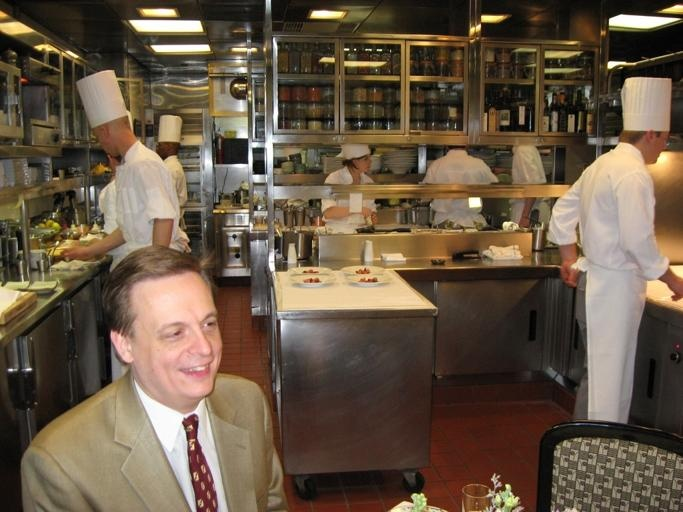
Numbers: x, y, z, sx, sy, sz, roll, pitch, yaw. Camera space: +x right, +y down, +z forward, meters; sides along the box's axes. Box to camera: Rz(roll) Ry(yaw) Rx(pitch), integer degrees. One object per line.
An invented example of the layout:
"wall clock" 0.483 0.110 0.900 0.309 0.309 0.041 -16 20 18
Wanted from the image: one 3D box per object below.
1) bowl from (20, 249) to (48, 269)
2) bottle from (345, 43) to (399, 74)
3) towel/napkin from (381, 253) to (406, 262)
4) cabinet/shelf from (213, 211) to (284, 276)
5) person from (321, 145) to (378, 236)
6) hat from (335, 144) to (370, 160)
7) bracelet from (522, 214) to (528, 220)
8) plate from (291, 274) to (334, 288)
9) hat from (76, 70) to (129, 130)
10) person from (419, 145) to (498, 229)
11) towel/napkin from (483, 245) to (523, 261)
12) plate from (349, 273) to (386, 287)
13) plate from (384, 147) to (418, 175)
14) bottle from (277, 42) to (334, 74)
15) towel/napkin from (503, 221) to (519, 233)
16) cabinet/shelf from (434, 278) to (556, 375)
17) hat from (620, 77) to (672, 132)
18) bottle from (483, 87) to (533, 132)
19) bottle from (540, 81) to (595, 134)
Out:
"bowl" -2.104 0.017 3.965 0.135 0.106 0.147 0 -2 0
"bottle" 0.244 -1.534 4.469 0.437 0.229 0.034 -3 13 -9
"towel/napkin" 0.408 0.009 4.529 0.177 0.060 0.165 0 12 4
"cabinet/shelf" -1.599 -0.184 8.376 0.817 0.877 0.753 -3 2 -44
"person" 0.059 -0.590 4.933 0.454 0.736 0.996 -1 12 2
"hat" 0.119 -0.905 4.924 0.216 0.111 0.151 0 14 -8
"bracelet" 1.704 -0.360 5.348 0.058 0.015 0.061 1 17 11
"plate" -0.188 0.164 3.725 0.271 0.047 0.176 -1 12 1
"hat" -1.580 -1.039 3.824 0.272 0.295 0.287 -24 18 -30
"person" 1.077 -0.632 5.341 0.656 0.729 0.728 1 13 12
"towel/napkin" 1.286 -0.033 4.606 0.307 0.085 0.291 0 12 6
"plate" 0.173 0.156 3.761 0.245 0.040 0.213 -3 12 -7
"plate" 0.667 -1.065 6.475 0.320 0.203 0.318 4 10 32
"bottle" -0.269 -1.475 4.418 0.511 0.228 0.450 -1 5 -6
"towel/napkin" 1.458 -0.254 4.996 0.100 0.065 0.150 1 1 9
"cabinet/shelf" 1.056 0.523 4.581 0.992 0.788 0.542 1 -1 -20
"hat" 1.888 -0.938 3.598 0.314 0.306 0.269 3 6 30
"bottle" 1.337 -1.214 4.682 0.393 0.337 0.127 1 4 -2
"bottle" 1.842 -1.249 4.748 0.456 0.388 0.142 1 10 -4
